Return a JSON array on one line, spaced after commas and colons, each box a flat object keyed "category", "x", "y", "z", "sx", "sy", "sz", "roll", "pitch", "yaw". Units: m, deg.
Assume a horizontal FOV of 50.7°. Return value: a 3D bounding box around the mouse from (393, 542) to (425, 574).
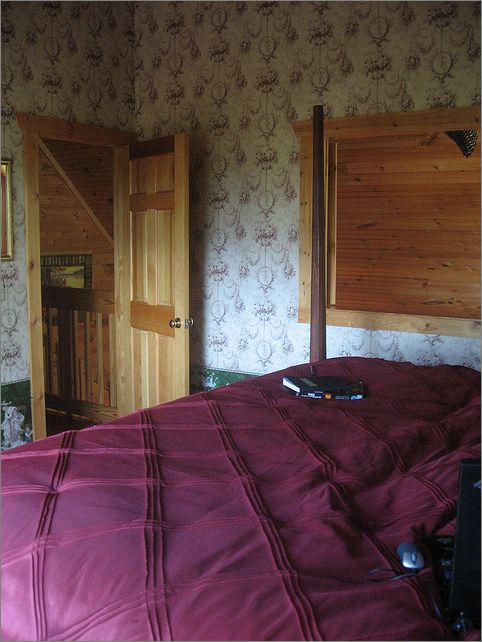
[{"category": "mouse", "x": 0.274, "y": 0.381, "z": 0.815, "sx": 0.036, "sy": 0.028, "sz": 0.057, "roll": 1, "pitch": 7, "yaw": 8}]
